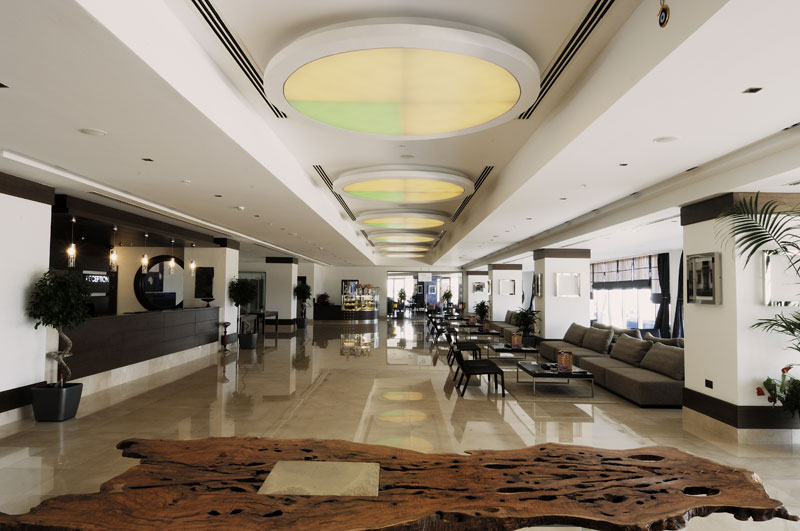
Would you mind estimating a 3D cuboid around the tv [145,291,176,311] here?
[{"bbox_3d":[-7.176,1.026,14.467,0.864,0.577,0.460,3,0,-31],"label":"tv"}]

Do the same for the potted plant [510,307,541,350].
[{"bbox_3d":[3.946,1.957,15.294,1.032,1.473,1.094,-1,0,4],"label":"potted plant"}]

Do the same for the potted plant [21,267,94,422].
[{"bbox_3d":[-5.723,1.294,8.081,0.863,2.434,1.085,0,4,-9],"label":"potted plant"}]
